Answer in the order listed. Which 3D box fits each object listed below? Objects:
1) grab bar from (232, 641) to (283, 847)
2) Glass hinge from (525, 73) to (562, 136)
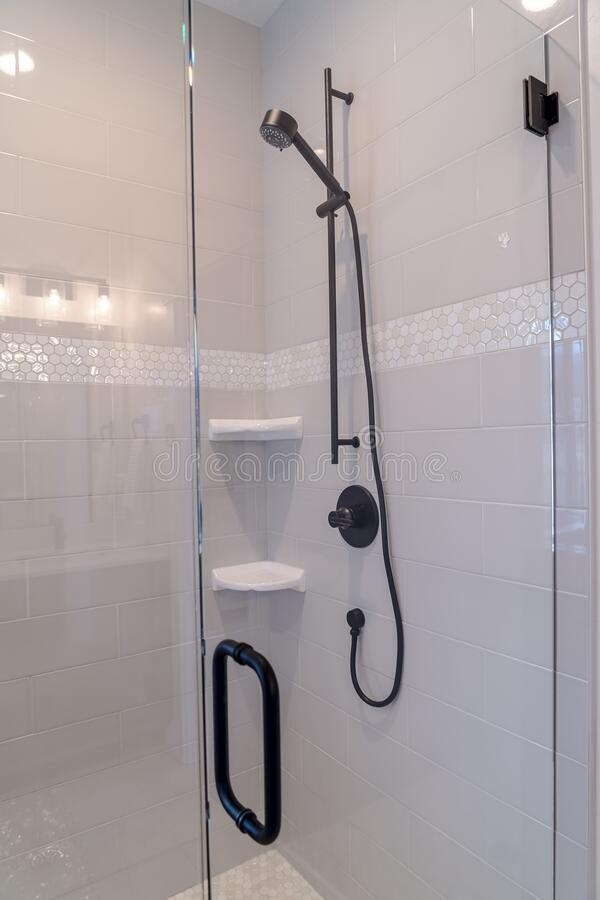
[{"bbox_3d":[-0.070,0.474,1.064,0.084,0.314,0.063,-4,4,-12],"label":"grab bar"},{"bbox_3d":[0.414,-0.591,1.133,0.041,0.080,0.053,-37,47,-28],"label":"Glass hinge"}]
